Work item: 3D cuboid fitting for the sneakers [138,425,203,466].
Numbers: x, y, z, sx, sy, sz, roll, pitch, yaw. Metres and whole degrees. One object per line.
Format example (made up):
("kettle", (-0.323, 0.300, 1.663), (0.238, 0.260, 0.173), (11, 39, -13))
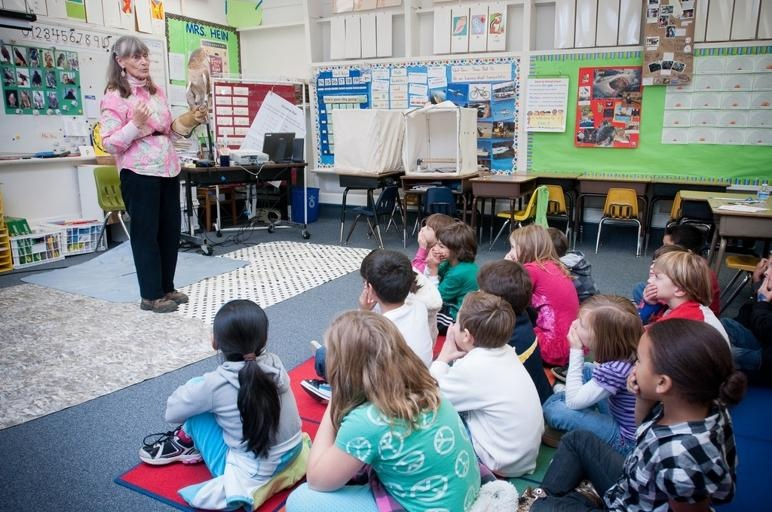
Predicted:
("sneakers", (-1.115, 0.979, 2.612), (0.395, 0.193, 0.156), (3, 5, -2))

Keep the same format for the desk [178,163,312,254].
("desk", (-2.248, -0.493, 6.953), (1.305, 1.275, 1.876), (10, 14, 41))

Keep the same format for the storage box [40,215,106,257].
("storage box", (-3.764, -0.226, 6.059), (0.538, 0.331, 0.537), (-4, 8, -34))

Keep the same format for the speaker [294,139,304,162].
("speaker", (-1.283, -1.551, 7.253), (0.173, 0.328, 0.375), (-2, 11, -10))

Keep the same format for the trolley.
("trolley", (-1.962, -0.723, 6.859), (1.599, 1.041, 1.025), (-5, 8, -7))

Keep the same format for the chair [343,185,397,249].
("chair", (-0.138, -0.559, 6.660), (0.634, 0.860, 0.561), (11, 17, 32))

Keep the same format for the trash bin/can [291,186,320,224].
("trash bin/can", (-1.320, -0.811, 7.912), (0.370, 0.570, 0.569), (-10, 16, -38))

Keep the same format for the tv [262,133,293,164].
("tv", (-1.513, -1.483, 6.818), (0.475, 0.429, 0.169), (-2, 23, -20))

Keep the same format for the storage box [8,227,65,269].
("storage box", (-4.025, -0.093, 5.676), (0.368, 0.438, 0.654), (1, 7, 26))

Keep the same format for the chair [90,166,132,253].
("chair", (-3.220, -0.592, 6.069), (0.578, 0.891, 0.510), (8, 15, 5))

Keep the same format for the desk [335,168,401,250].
("desk", (-0.167, -0.698, 6.984), (0.842, 1.043, 0.837), (3, 17, 7))

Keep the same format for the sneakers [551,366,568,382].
("sneakers", (1.125, 0.750, 3.165), (0.060, 0.065, 0.163), (4, 12, 12))

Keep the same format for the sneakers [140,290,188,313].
("sneakers", (-1.958, 0.375, 4.323), (0.302, 0.129, 0.173), (-6, 15, -9))

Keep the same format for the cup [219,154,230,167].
("cup", (-2.068, -1.210, 6.310), (0.132, 0.141, 0.258), (-3, 12, -17))
